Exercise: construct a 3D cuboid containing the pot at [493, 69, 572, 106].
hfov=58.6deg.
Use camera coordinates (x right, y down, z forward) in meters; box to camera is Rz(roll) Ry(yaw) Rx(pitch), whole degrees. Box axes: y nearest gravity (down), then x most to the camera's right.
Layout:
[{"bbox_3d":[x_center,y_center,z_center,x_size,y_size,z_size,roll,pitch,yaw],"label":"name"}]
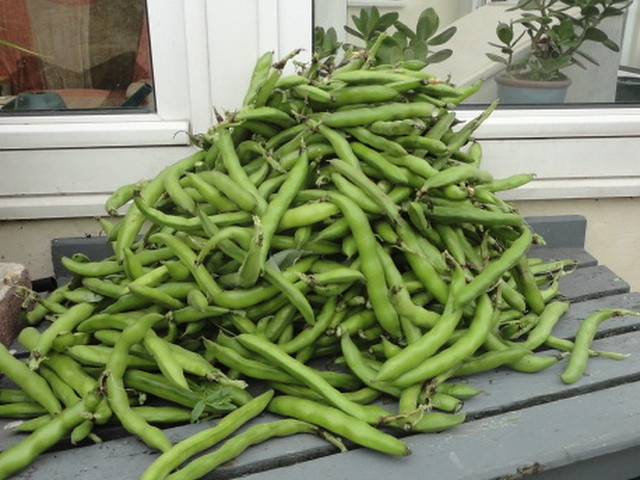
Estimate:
[{"bbox_3d":[0.778,-0.536,2.119,0.268,0.085,0.232,5,16,18],"label":"pot"}]
